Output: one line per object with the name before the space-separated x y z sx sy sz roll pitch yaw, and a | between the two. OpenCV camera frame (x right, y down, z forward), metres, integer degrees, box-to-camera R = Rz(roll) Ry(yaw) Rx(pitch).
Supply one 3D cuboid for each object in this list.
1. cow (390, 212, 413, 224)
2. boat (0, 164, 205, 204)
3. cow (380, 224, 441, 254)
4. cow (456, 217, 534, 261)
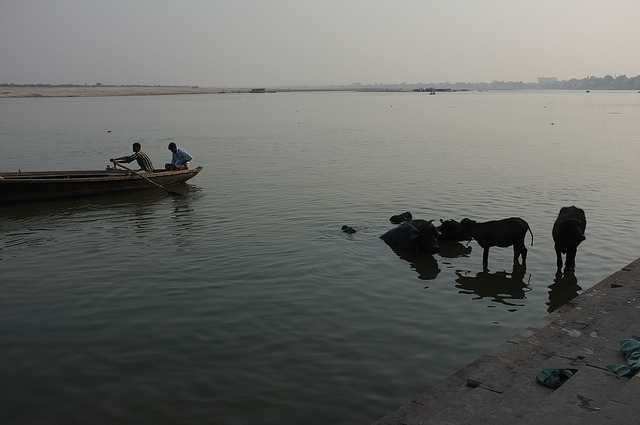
cow | 3.337 0.212 23.691 0.538 0.541 1.232 -10 16 -19
boat | -11.425 -1.462 29.982 10.289 1.159 2.392 -8 30 -40
cow | 3.433 0.991 21.487 2.115 1.008 0.810 8 21 36
cow | 6.277 0.762 20.817 3.527 1.545 1.032 2 4 34
